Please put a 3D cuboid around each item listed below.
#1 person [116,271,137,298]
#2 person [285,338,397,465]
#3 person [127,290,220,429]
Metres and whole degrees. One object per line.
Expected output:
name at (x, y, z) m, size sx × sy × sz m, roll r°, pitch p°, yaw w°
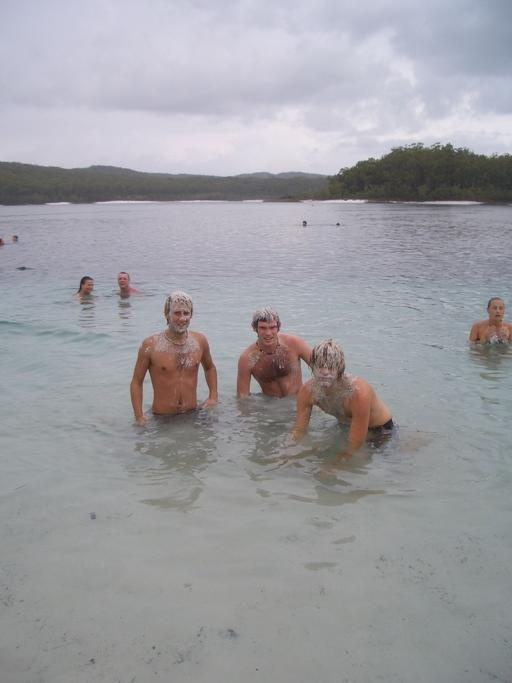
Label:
person at (-3.467, -1.540, 15.872) m, size 0.434 × 0.649 × 1.012 m, roll -3°, pitch 13°, yaw -11°
person at (0.835, 0.558, 6.081) m, size 0.821 × 1.160 × 1.454 m, roll 9°, pitch 18°, yaw 43°
person at (-0.911, 0.143, 6.854) m, size 1.097 × 1.482 × 0.454 m, roll -11°, pitch 18°, yaw -39°
